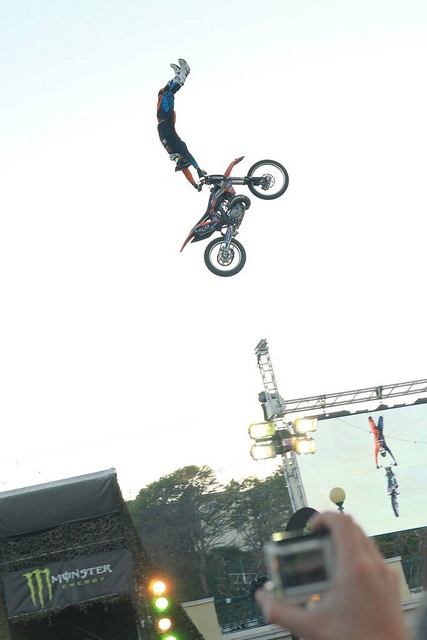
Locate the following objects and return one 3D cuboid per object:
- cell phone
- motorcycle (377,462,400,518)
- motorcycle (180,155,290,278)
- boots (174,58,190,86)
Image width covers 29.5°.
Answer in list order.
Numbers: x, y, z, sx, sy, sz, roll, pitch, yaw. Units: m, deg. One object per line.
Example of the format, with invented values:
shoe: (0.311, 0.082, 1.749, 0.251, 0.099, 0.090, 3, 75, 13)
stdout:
cell phone: (0.205, 0.527, 1.697, 0.180, 0.164, 0.047, -5, -14, 19)
motorcycle: (6.112, 5.869, 27.706, 0.334, 1.255, 0.694, -28, -14, 36)
motorcycle: (0.336, -1.615, 12.370, 1.742, 1.783, 1.054, -17, -11, 2)
boots: (-0.447, -3.725, 12.233, 0.287, 0.367, 0.133, -4, 15, -15)
